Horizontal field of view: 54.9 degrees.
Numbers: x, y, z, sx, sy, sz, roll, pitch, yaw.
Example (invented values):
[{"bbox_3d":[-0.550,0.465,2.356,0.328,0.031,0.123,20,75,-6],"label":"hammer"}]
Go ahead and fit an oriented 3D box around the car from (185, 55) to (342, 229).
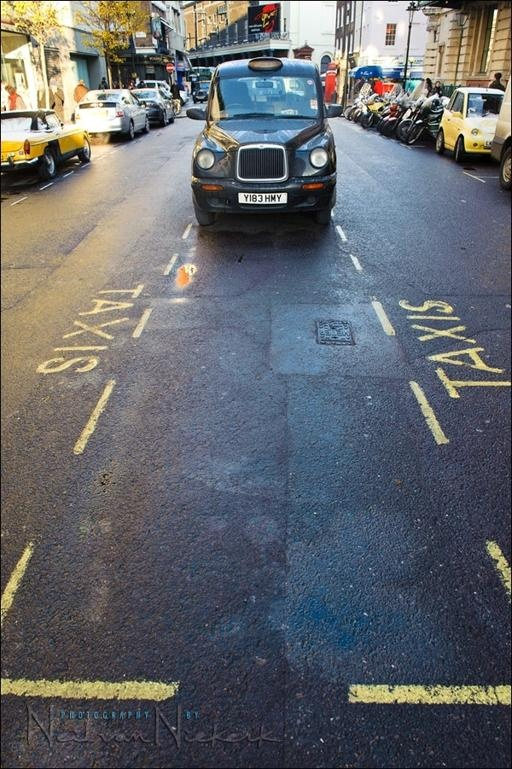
[{"bbox_3d":[0.147,-4.347,9.087,2.506,2.957,2.399,-3,26,-4],"label":"car"}]
